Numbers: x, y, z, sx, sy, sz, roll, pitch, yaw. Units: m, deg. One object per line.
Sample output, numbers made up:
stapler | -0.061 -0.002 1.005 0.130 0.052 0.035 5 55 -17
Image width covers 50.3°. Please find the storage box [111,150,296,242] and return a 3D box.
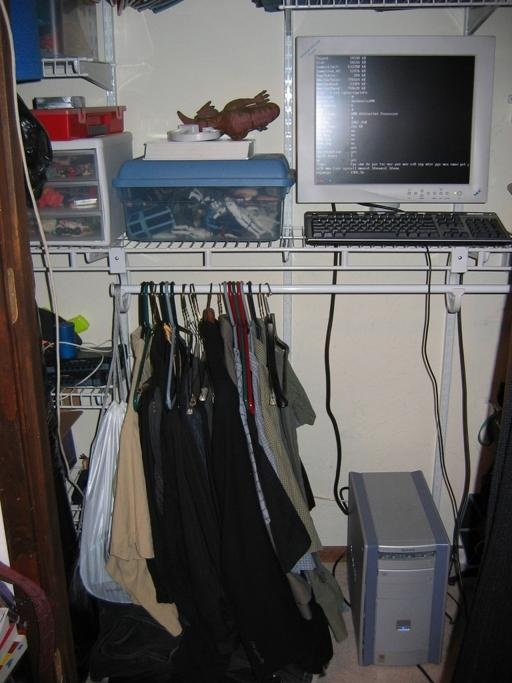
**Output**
storage box | -0.129 -0.330 1.275 0.292 0.155 0.226 -1 21 2

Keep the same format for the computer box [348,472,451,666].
computer box | 0.411 0.632 1.635 0.199 0.392 0.420 -1 20 6

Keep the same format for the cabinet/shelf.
cabinet/shelf | -0.442 -0.361 1.338 0.217 0.243 0.183 2 14 10

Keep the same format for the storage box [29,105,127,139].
storage box | -0.408 -0.530 1.315 0.082 0.089 0.328 2 19 12
